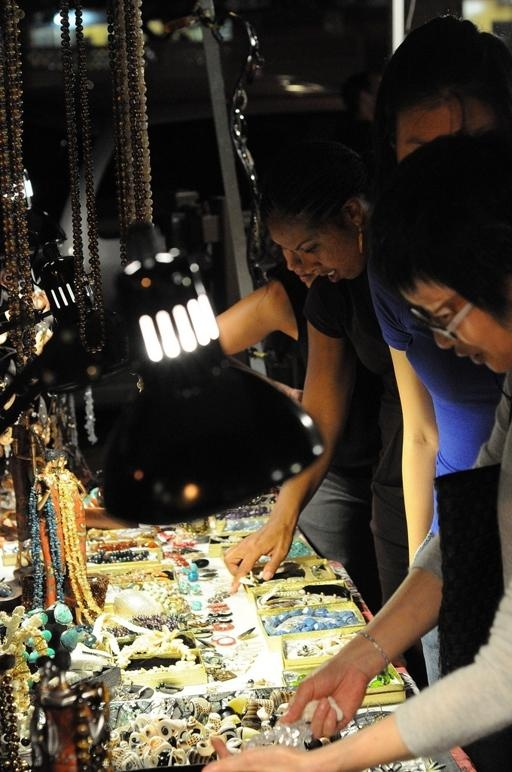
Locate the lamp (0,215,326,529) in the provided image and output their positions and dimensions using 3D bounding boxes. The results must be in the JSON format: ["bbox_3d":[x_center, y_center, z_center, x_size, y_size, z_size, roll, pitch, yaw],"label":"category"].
[{"bbox_3d":[-0.044,0.002,0.697,0.220,0.311,0.104,-5,12,-13],"label":"lamp"}]

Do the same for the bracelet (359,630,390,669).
[{"bbox_3d":[0.196,0.416,1.139,0.014,0.059,0.046,-48,7,8],"label":"bracelet"}]
